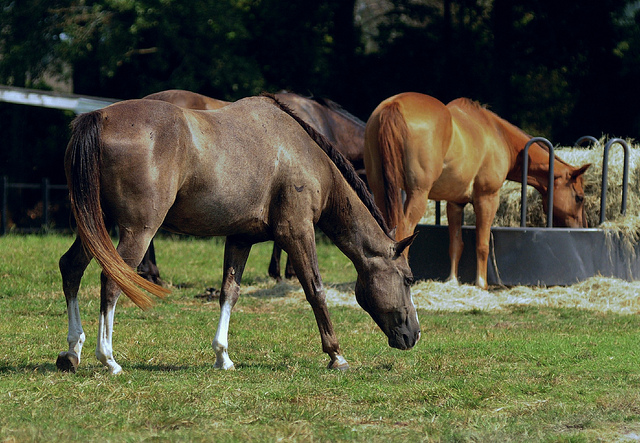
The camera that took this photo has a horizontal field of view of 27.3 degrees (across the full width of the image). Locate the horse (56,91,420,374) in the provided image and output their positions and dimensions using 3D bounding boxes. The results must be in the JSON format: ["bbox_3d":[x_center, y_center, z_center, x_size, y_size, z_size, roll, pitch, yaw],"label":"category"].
[{"bbox_3d":[-1.194,0.353,22.868,6.692,4.876,1.890,3,2,-27],"label":"horse"}]
